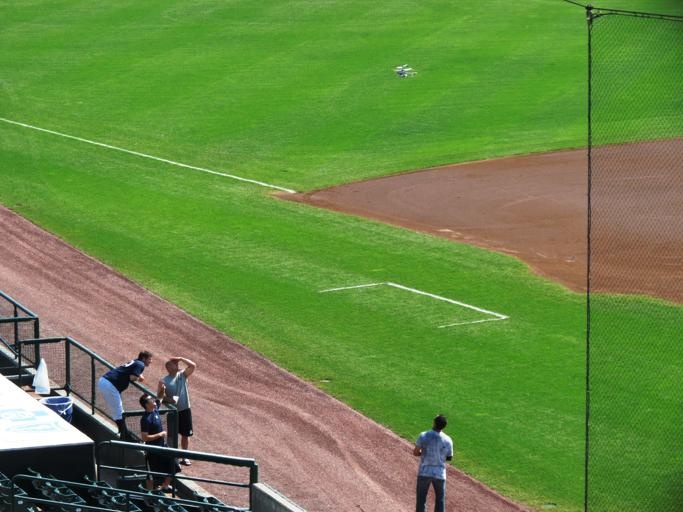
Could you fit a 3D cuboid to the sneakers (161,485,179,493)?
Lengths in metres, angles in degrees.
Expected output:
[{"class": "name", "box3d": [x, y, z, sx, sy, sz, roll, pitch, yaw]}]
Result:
[{"class": "sneakers", "box3d": [-5.431, 7.378, 55.141, 0.597, 0.173, 0.200, 9, 9, 40]}]

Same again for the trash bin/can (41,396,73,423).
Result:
[{"class": "trash bin/can", "box3d": [-9.212, 4.976, 56.466, 1.042, 0.608, 0.863, 3, 12, 7]}]
